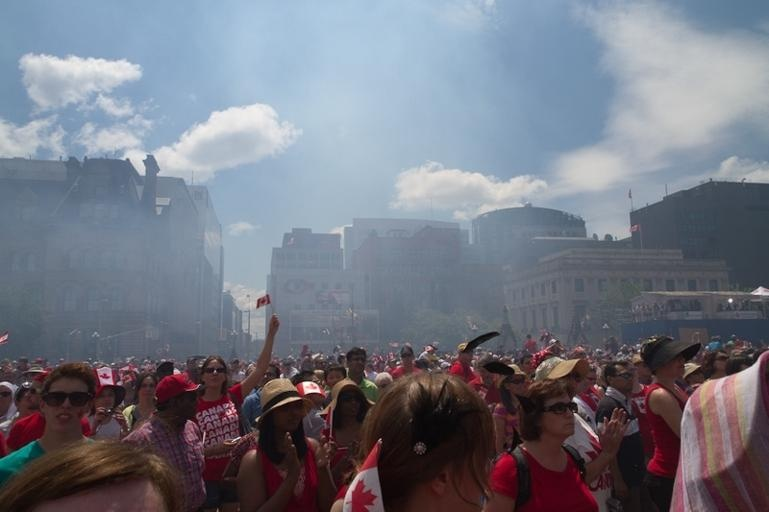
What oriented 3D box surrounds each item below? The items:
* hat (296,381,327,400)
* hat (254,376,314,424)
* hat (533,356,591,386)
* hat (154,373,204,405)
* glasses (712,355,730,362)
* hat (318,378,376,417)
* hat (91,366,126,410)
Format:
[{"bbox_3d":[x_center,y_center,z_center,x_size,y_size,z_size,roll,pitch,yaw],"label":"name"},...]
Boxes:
[{"bbox_3d":[-0.884,1.545,7.452,0.355,0.151,0.255,-16,-18,40],"label":"hat"},{"bbox_3d":[-1.049,1.478,6.502,0.464,0.242,0.444,-32,-18,24],"label":"hat"},{"bbox_3d":[1.643,1.113,5.962,0.409,0.149,0.277,-23,-4,22],"label":"hat"},{"bbox_3d":[-2.238,1.414,6.875,0.366,0.185,0.265,-6,2,-28],"label":"hat"},{"bbox_3d":[5.144,1.563,9.802,0.168,0.076,0.165,3,-13,10],"label":"glasses"},{"bbox_3d":[-0.429,1.745,7.533,0.598,0.285,0.587,-11,-15,-12],"label":"hat"},{"bbox_3d":[-3.839,1.729,8.865,0.554,0.426,0.795,1,-8,-25],"label":"hat"}]
